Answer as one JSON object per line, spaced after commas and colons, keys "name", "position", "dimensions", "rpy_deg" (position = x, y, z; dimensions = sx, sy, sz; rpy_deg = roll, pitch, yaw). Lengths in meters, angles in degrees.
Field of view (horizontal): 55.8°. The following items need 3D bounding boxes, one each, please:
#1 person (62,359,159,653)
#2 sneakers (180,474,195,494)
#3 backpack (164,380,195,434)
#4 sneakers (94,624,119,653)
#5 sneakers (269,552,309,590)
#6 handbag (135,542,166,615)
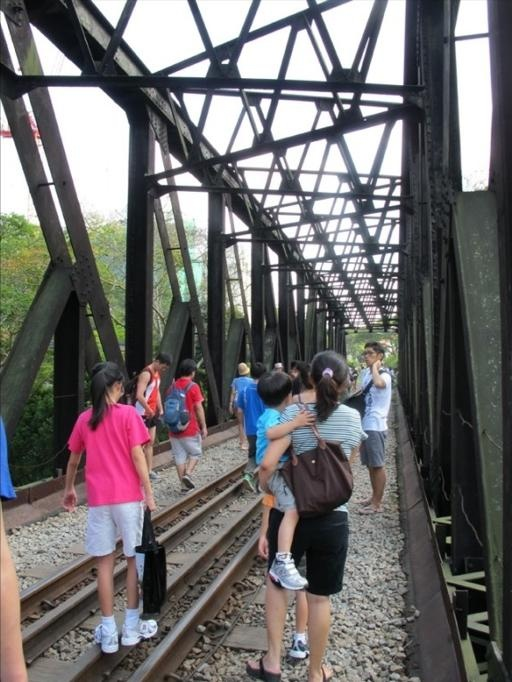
{"name": "person", "position": [-0.873, 0.974, 2.896], "dimensions": [0.530, 1.723, 0.377], "rpy_deg": [-5, 2, -10]}
{"name": "sneakers", "position": [-0.988, 2.034, 6.861], "dimensions": [0.119, 0.331, 0.147], "rpy_deg": [-5, 37, 17]}
{"name": "backpack", "position": [-1.082, 0.938, 6.697], "dimensions": [0.363, 0.719, 0.386], "rpy_deg": [7, -13, -20]}
{"name": "sneakers", "position": [-0.857, 1.707, 2.785], "dimensions": [0.076, 0.117, 0.225], "rpy_deg": [1, 0, -8]}
{"name": "sneakers", "position": [0.137, 1.065, 2.202], "dimensions": [0.155, 0.160, 0.232], "rpy_deg": [-6, 1, -3]}
{"name": "handbag", "position": [-0.596, 1.396, 2.803], "dimensions": [0.158, 0.417, 0.175], "rpy_deg": [-6, 2, -24]}
